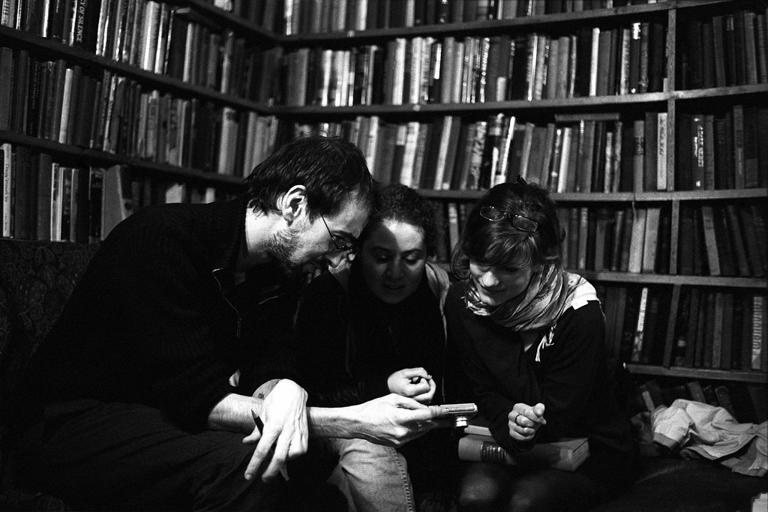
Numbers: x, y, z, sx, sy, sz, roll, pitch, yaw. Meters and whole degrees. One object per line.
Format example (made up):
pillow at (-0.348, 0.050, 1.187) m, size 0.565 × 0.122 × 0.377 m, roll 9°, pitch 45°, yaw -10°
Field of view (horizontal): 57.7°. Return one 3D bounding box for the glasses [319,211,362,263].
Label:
glasses at (-0.136, -0.056, 2.295) m, size 0.044 × 0.140 × 0.139 m, roll -32°, pitch -21°, yaw 13°
